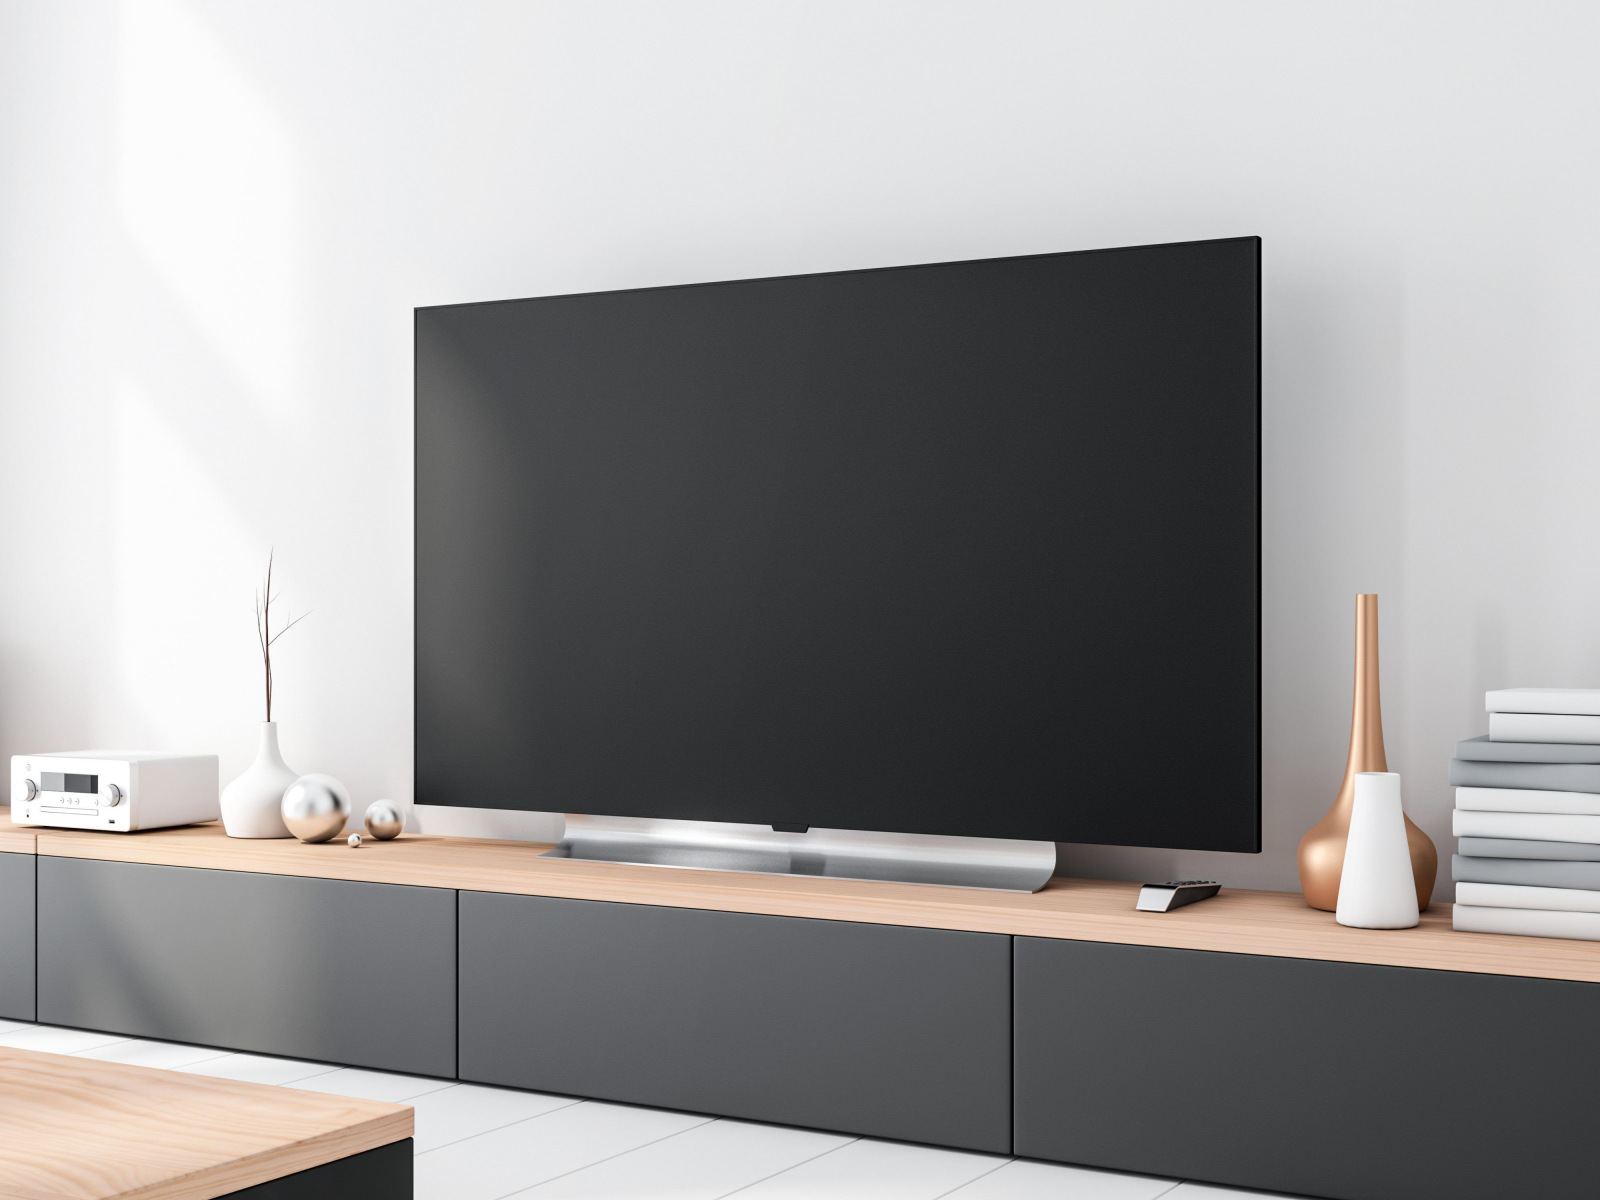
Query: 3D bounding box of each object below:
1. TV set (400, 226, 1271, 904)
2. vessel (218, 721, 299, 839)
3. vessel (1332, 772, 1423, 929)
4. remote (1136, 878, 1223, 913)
[{"bbox_3d":[0.134,-0.052,3.179,1.511,1.072,0.173,0,0,26],"label":"TV set"},{"bbox_3d":[-1.363,0.468,3.642,0.226,0.348,0.244,2,-7,-13],"label":"vessel"},{"bbox_3d":[1.078,0.473,2.667,0.153,0.288,0.105,0,-7,6],"label":"vessel"},{"bbox_3d":[0.757,0.600,2.856,0.075,0.052,0.267,-6,-11,40],"label":"remote"}]
